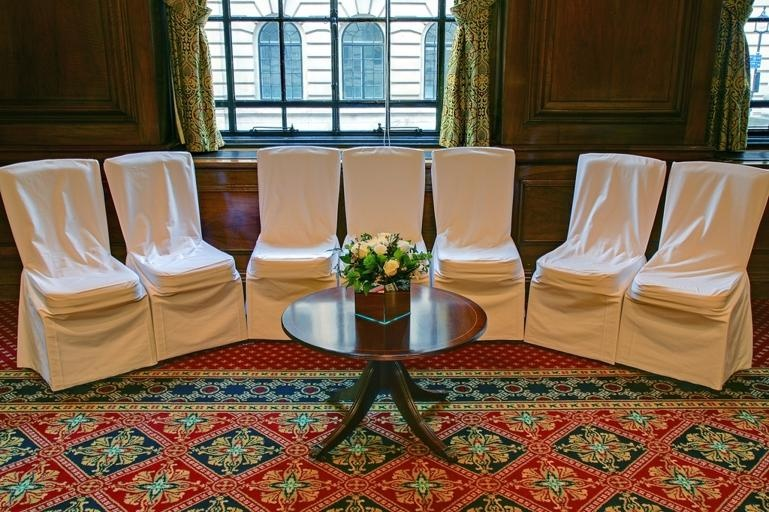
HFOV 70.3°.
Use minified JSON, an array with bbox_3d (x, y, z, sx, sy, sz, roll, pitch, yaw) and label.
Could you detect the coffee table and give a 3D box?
[{"bbox_3d":[-0.004,0.688,3.376,1.223,0.775,0.809,0,21,3],"label":"coffee table"}]
